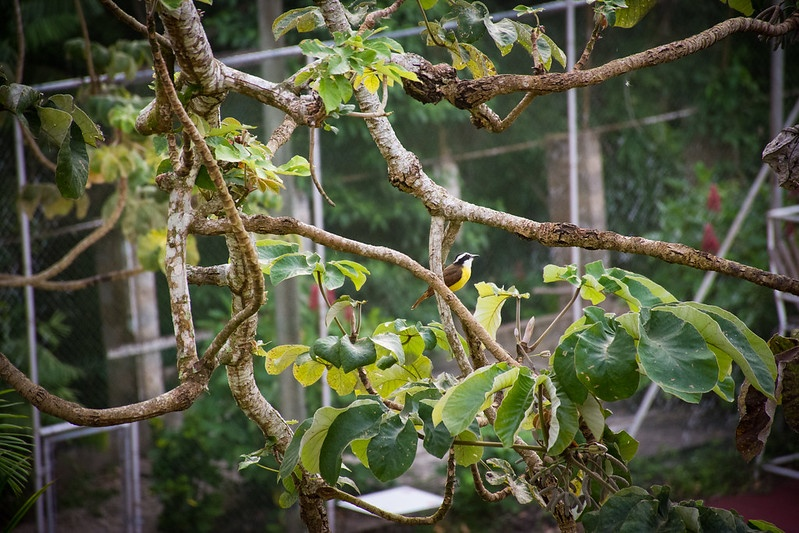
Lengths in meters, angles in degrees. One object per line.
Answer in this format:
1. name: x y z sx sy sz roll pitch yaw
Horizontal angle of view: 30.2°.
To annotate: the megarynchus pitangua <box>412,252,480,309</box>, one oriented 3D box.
1. megarynchus pitangua: 0.355 0.081 10.758 0.498 0.357 0.180 -6 8 11
